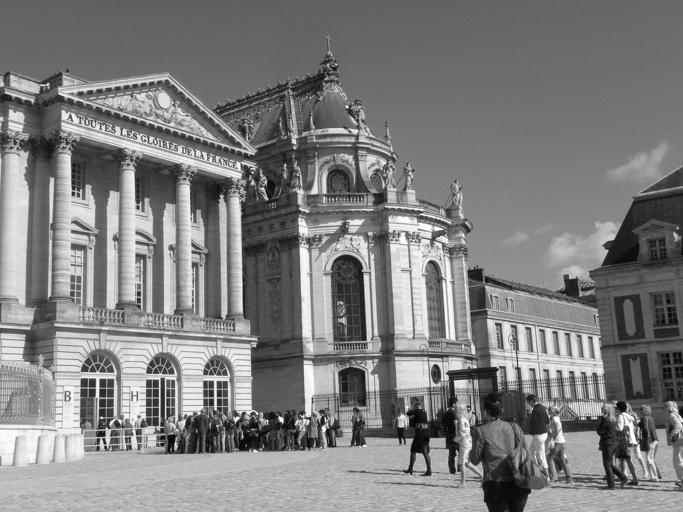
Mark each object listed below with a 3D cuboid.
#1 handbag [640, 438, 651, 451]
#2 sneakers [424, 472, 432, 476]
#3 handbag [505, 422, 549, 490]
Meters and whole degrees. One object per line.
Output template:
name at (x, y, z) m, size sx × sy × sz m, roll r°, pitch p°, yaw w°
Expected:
handbag at (8.146, 5.061, 19.698) m, size 0.311 × 0.398 × 0.156 m, roll -1°, pitch -16°, yaw 24°
sneakers at (2.565, 6.498, 21.844) m, size 0.216 × 0.117 × 0.363 m, roll -3°, pitch -17°, yaw 4°
handbag at (2.864, 3.105, 11.418) m, size 0.514 × 1.039 × 0.581 m, roll -6°, pitch -17°, yaw 15°
